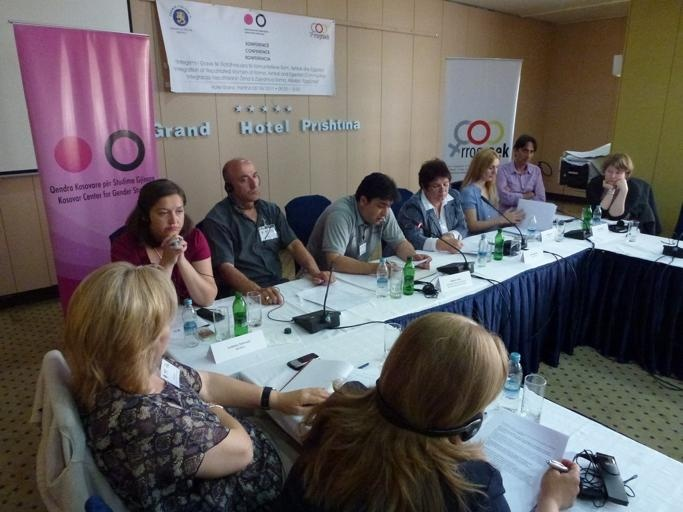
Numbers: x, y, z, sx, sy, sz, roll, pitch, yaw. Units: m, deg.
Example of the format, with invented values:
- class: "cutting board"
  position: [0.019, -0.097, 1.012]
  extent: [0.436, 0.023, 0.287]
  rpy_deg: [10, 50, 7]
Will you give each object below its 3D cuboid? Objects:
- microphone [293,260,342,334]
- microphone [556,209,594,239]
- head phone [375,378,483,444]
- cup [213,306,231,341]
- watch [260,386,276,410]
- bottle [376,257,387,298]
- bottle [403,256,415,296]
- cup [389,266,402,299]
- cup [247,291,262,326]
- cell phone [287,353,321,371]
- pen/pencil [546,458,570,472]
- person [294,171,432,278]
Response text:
- class: "microphone"
  position: [-0.096, 0.229, 2.246]
  extent: [0.149, 0.283, 0.222]
  rpy_deg: [-9, 20, -35]
- class: "microphone"
  position: [1.843, -0.213, 3.607]
  extent: [0.273, 0.090, 0.286]
  rpy_deg: [20, 30, 32]
- class: "head phone"
  position: [0.236, 0.395, 1.154]
  extent: [0.180, 0.161, 0.074]
  rpy_deg: [33, 70, 15]
- class: "cup"
  position: [-0.582, 0.332, 2.173]
  extent: [0.079, 0.150, 0.079]
  rpy_deg: [-2, 12, 0]
- class: "watch"
  position: [-0.280, 0.526, 1.659]
  extent: [0.049, 0.083, 0.073]
  rpy_deg: [4, 16, 10]
- class: "bottle"
  position: [0.235, 0.124, 2.556]
  extent: [0.074, 0.143, 0.186]
  rpy_deg: [0, 21, 5]
- class: "bottle"
  position: [0.390, 0.100, 2.571]
  extent: [0.068, 0.171, 0.191]
  rpy_deg: [1, 21, 9]
- class: "cup"
  position: [0.304, 0.155, 2.509]
  extent: [0.063, 0.270, 0.068]
  rpy_deg: [0, 20, 0]
- class: "cup"
  position: [-0.445, 0.275, 2.280]
  extent: [0.088, 0.168, 0.091]
  rpy_deg: [-3, 14, 1]
- class: "cell phone"
  position: [-0.167, 0.443, 1.893]
  extent: [0.053, 0.015, 0.103]
  rpy_deg: [17, 26, 37]
- class: "pen/pencil"
  position: [0.662, 0.623, 1.349]
  extent: [0.024, 0.015, 0.047]
  rpy_deg: [-9, 13, -31]
- class: "person"
  position: [0.119, -0.229, 3.117]
  extent: [0.755, 0.666, 0.610]
  rpy_deg: [24, 28, 38]
